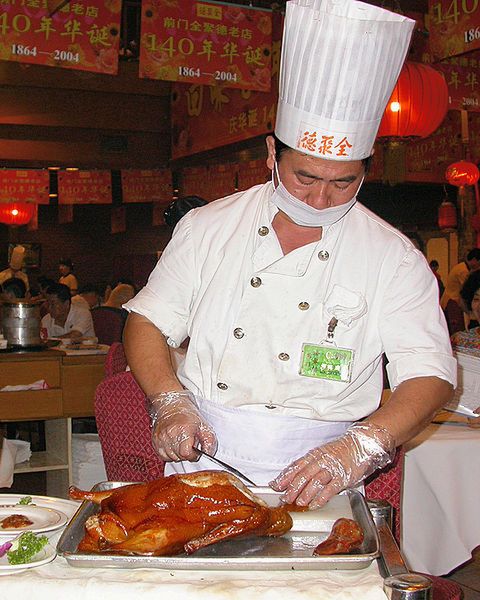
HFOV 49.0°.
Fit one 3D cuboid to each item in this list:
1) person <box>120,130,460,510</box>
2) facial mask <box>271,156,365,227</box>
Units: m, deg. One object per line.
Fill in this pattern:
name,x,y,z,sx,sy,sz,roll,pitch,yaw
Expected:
person,0.100,0.069,1.328,0.730,1.023,0.710,6,10,1
facial mask,0.184,-0.258,1.333,0.208,0.147,0.122,-2,16,5
